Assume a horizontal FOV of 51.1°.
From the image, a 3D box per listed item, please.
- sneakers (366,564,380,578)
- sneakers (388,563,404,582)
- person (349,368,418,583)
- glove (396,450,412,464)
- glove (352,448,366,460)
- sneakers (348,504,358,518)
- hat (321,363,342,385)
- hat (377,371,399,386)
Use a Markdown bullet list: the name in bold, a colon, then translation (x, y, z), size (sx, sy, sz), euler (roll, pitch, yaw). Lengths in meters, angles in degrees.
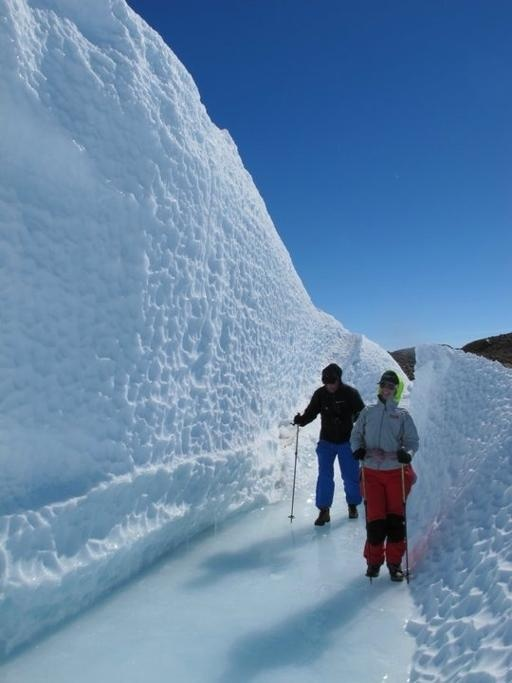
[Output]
- **sneakers**: translation (0.954, 1.871, 4.351), size (0.080, 0.138, 0.141), euler (-1, -20, 11)
- **sneakers**: translation (1.125, 1.847, 4.273), size (0.095, 0.052, 0.142), euler (1, -3, 1)
- **person**: translation (1.080, 1.096, 4.439), size (0.540, 1.724, 0.400), euler (-5, -1, 10)
- **glove**: translation (1.165, 0.908, 4.245), size (0.084, 0.109, 0.043), euler (-18, -39, -7)
- **glove**: translation (0.853, 0.935, 4.436), size (0.078, 0.092, 0.094), euler (4, -25, -10)
- **sneakers**: translation (1.106, 1.954, 6.177), size (0.082, 0.171, 0.177), euler (1, -5, 23)
- **hat**: translation (0.851, 0.376, 6.037), size (0.208, 0.232, 0.296), euler (-5, -1, 11)
- **hat**: translation (1.111, 0.316, 4.470), size (0.102, 0.079, 0.152), euler (8, -31, 40)
